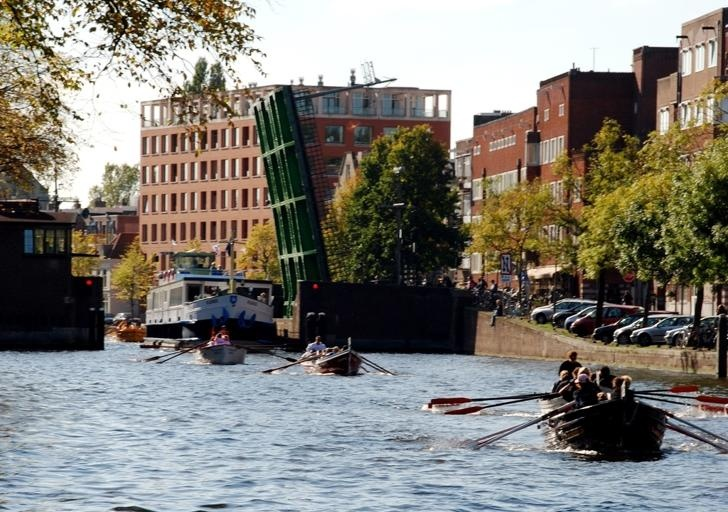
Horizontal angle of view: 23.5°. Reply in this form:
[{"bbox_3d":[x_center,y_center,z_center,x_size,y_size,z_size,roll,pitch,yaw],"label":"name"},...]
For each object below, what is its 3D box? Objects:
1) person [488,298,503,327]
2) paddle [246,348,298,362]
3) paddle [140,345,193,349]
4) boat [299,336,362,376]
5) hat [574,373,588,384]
[{"bbox_3d":[7.502,3.296,99.178,0.659,1.550,0.675,15,-45,1],"label":"person"},{"bbox_3d":[-4.961,5.449,95.889,3.857,0.408,0.183,11,23,26],"label":"paddle"},{"bbox_3d":[-11.548,5.447,104.773,3.534,0.246,0.847,0,2,43],"label":"paddle"},{"bbox_3d":[-1.424,4.855,82.327,1.404,1.538,2.968,4,-6,-42],"label":"boat"},{"bbox_3d":[7.146,4.031,57.337,0.379,0.165,0.266,-1,2,-14],"label":"hat"}]
